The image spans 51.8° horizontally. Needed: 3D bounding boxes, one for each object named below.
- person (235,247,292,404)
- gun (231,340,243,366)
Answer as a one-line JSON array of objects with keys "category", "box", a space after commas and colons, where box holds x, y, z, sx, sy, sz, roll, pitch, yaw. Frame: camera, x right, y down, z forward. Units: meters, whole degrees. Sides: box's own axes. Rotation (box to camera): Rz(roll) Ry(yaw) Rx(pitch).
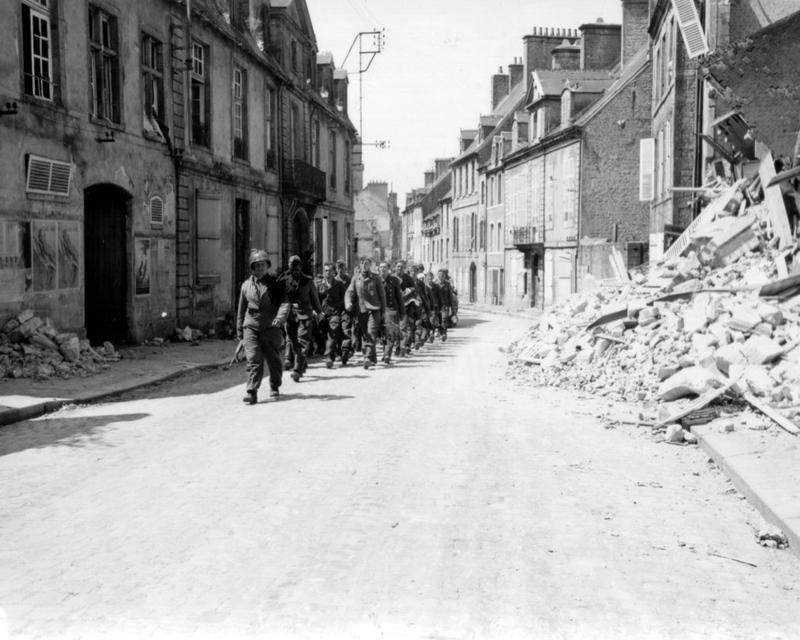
[{"category": "person", "box": [-1.936, 0.050, 11.569, 0.695, 2.069, 1.137, 0, 4, -12]}, {"category": "gun", "box": [-3.170, 0.630, 15.865, 0.072, 0.557, 0.177, 6, -28, 15]}]
